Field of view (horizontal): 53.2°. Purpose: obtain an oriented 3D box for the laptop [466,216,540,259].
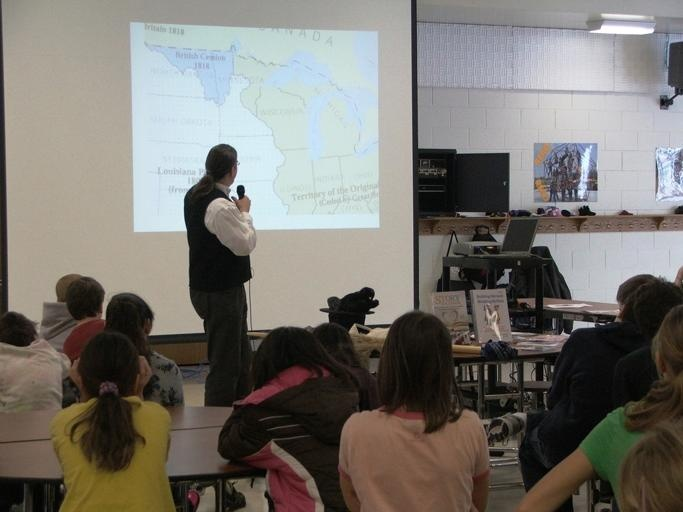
[{"bbox_3d":[1.361,-0.135,5.508,0.384,0.325,0.355,0,3,-31],"label":"laptop"}]
